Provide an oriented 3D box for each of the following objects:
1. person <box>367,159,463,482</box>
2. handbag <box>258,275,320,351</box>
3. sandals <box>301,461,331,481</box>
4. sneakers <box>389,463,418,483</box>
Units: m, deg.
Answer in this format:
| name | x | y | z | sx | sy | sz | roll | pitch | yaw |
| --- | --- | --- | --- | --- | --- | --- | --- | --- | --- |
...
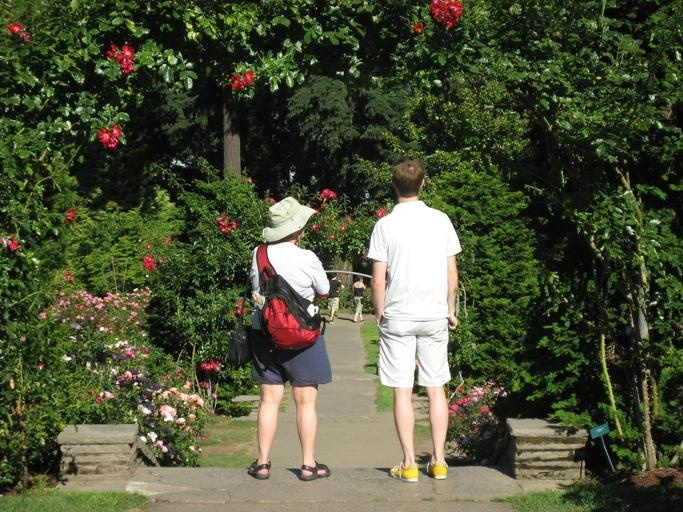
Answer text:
| name | x | y | z | sx | sy | sz | roll | pitch | yaw |
| --- | --- | --- | --- | --- | --- | --- | --- | --- | --- |
| person | 0.587 | 0.538 | 8.173 | 0.717 | 2.625 | 0.626 | 1 | 14 | 10 |
| handbag | -0.450 | 0.438 | 8.142 | 0.479 | 0.688 | 0.386 | -7 | 35 | 15 |
| sandals | -0.214 | 1.806 | 8.327 | 0.230 | 0.099 | 0.116 | -3 | 9 | -31 |
| sneakers | 0.517 | 1.806 | 8.283 | 0.102 | 0.112 | 0.251 | 0 | 1 | -33 |
